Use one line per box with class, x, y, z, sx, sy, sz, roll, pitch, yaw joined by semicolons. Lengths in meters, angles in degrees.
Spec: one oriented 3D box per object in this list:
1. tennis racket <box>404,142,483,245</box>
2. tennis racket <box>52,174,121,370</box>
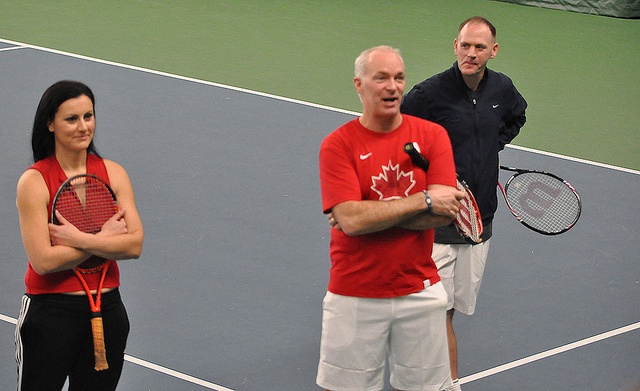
tennis racket;1.057;0.012;5.759;0.187;1.027;0.585;-18;41;34
tennis racket;-1.914;0.737;5.480;0.559;1.632;0.117;0;13;12
